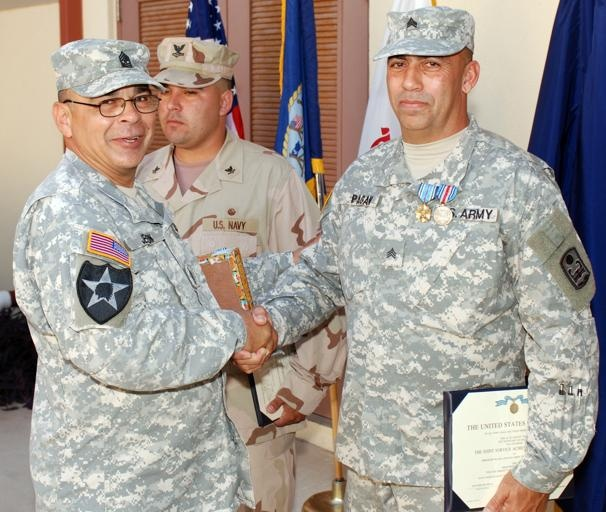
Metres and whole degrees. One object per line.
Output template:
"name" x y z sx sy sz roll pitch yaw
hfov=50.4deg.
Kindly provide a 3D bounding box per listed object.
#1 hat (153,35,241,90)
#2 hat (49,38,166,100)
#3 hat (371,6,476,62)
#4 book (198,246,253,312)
"hat" -0.454 -0.780 2.616 0.303 0.201 0.381 1 15 15
"hat" -0.532 -0.501 1.752 0.263 0.128 0.213 -8 3 -33
"hat" 0.355 -0.625 1.809 0.161 0.091 0.242 3 17 25
"book" -0.240 0.076 2.033 0.169 0.192 0.049 -4 14 28
